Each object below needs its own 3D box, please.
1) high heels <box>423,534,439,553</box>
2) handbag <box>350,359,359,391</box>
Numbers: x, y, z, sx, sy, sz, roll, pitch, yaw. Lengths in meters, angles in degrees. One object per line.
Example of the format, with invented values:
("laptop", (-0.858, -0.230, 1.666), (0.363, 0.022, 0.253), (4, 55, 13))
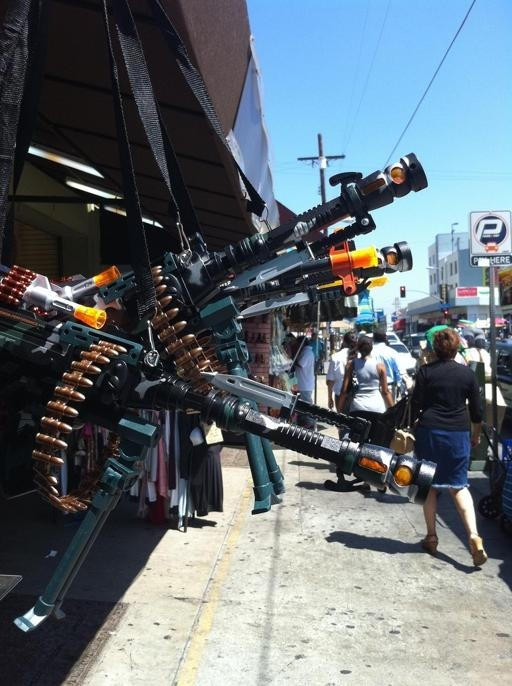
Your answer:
("high heels", (1.399, 1.616, 4.299), (0.071, 0.123, 0.192), (0, 2, 4))
("handbag", (1.153, 0.377, 6.241), (0.081, 0.272, 0.209), (2, -4, -12))
